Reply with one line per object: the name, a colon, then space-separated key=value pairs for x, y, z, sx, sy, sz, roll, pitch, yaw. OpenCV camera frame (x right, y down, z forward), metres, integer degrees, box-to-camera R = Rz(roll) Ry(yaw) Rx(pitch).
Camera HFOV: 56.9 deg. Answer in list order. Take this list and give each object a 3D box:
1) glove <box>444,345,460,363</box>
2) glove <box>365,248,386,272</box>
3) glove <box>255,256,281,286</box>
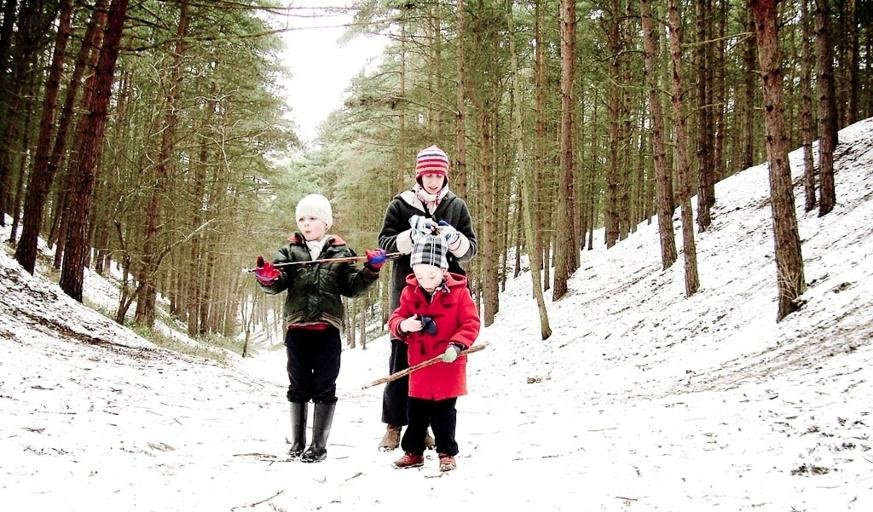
glove: x=0.292 y=2.022 z=16.901 sx=0.376 sy=0.349 sz=0.143 roll=3 pitch=-10 yaw=-10
glove: x=-1.318 y=0.060 z=17.314 sx=0.422 sy=0.497 sz=0.291 roll=2 pitch=-10 yaw=-5
glove: x=-3.642 y=0.327 z=17.124 sx=0.638 sy=0.613 sz=0.474 roll=12 pitch=7 yaw=39
